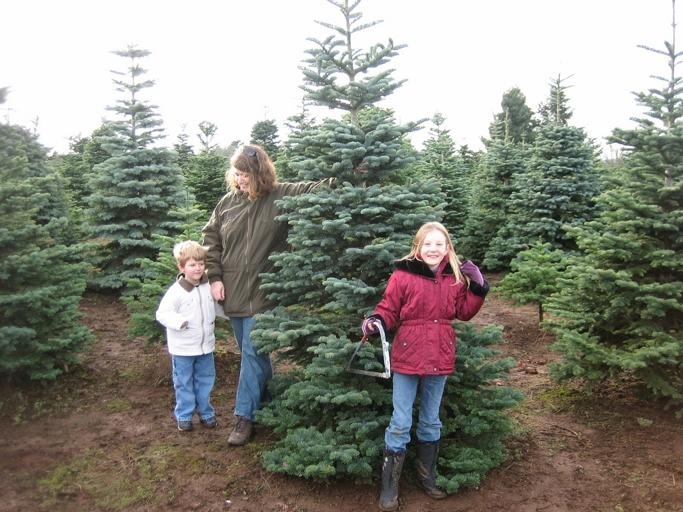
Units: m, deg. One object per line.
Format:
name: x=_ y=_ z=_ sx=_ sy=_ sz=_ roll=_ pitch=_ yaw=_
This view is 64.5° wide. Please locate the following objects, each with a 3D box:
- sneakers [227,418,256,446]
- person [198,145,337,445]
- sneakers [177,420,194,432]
sneakers: x=-1.180 y=2.066 z=6.398 sx=0.317 sy=0.224 sz=0.180 roll=3 pitch=1 yaw=-22
person: x=-1.148 y=0.444 z=6.564 sx=1.163 sy=2.428 sz=0.593 roll=5 pitch=2 yaw=35
sneakers: x=-1.927 y=2.091 z=6.669 sx=0.186 sy=0.080 sz=0.163 roll=2 pitch=1 yaw=-20
